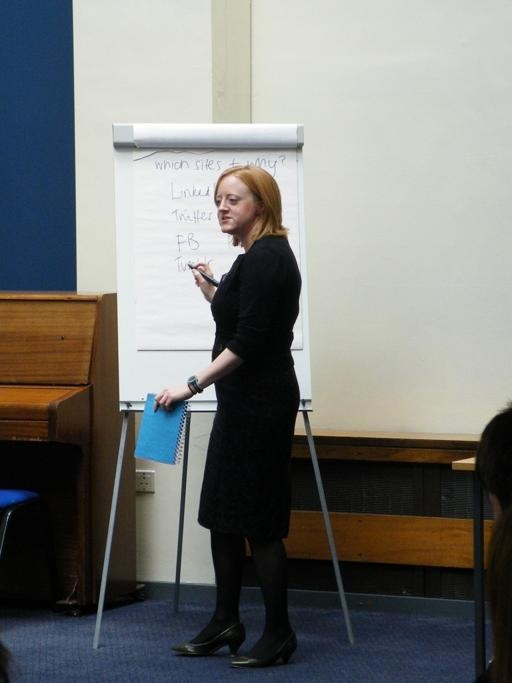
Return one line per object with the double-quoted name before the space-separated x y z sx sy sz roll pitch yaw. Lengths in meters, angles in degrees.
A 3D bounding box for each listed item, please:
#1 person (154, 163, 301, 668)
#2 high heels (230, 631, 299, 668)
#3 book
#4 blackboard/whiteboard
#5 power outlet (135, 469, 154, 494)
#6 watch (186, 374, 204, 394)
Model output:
"person" -0.066 0.209 2.223 0.365 1.396 0.309 1 -1 8
"high heels" 0.028 0.844 2.165 0.154 0.093 0.090 -1 -4 -13
"book" -0.260 0.252 2.197 0.125 0.198 0.052 2 -16 28
"blackboard/whiteboard" -0.129 -0.168 2.338 0.625 1.004 0.100 -1 -6 -1
"power outlet" -0.421 0.530 3.031 0.081 0.113 0.014 1 2 7
"watch" -0.164 0.120 2.162 0.031 0.050 0.053 -3 44 -4
